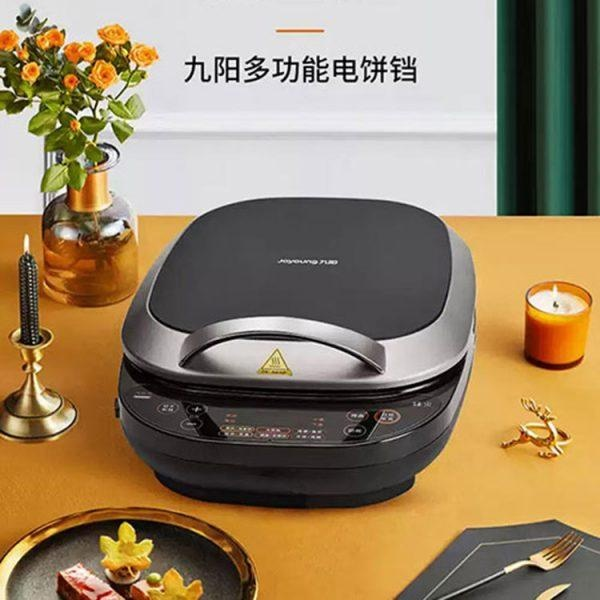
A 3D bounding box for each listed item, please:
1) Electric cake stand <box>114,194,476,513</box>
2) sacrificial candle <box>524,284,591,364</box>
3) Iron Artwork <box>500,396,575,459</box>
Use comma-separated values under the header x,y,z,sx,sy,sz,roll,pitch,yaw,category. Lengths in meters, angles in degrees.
x,y,z,sx,sy,sz,roll,pitch,yaw,category
-0.001,0.015,0.749,0.375,0.152,0.457,5,34,13,Electric cake stand
0.339,0.025,0.837,0.080,0.097,0.120,11,24,24,sacrificial candle
0.260,0.130,0.686,0.056,0.024,0.066,-4,20,-6,Iron Artwork
